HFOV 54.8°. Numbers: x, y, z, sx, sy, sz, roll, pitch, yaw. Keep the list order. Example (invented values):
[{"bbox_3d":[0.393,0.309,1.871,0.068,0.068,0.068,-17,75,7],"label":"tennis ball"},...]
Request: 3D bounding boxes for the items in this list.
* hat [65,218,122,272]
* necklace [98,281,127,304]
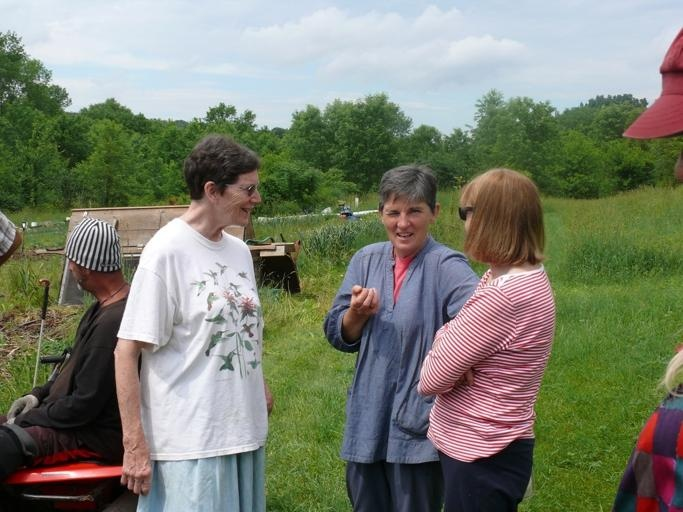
[{"bbox_3d":[-1.682,-0.070,4.593,0.376,0.342,0.348,25,18,40],"label":"hat"},{"bbox_3d":[-1.616,0.261,4.656,0.178,0.154,0.149,-2,-3,20],"label":"necklace"}]
